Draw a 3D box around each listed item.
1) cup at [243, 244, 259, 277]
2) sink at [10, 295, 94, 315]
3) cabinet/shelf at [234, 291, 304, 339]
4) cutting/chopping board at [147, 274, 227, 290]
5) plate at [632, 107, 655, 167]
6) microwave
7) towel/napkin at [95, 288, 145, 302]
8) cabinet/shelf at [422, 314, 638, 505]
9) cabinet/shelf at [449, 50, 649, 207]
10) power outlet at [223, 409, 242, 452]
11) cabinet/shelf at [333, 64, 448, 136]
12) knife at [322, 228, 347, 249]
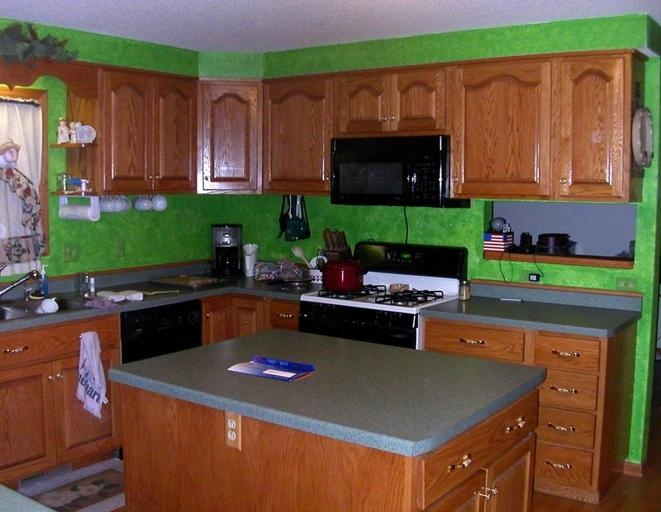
[{"bbox_3d":[-0.719,0.035,4.856,0.115,0.278,0.204,-1,7,-8],"label":"cup"},{"bbox_3d":[-1.928,0.317,3.649,0.261,0.101,0.217,7,9,40],"label":"sink"},{"bbox_3d":[-0.496,0.451,4.242,0.544,0.361,0.319,4,6,26],"label":"cabinet/shelf"},{"bbox_3d":[-1.151,0.195,4.542,0.581,0.027,0.511,5,8,34],"label":"cutting/chopping board"},{"bbox_3d":[1.929,-0.743,3.348,0.074,0.306,0.255,4,4,8],"label":"plate"},{"bbox_3d":[0.552,-0.642,4.206,1.044,0.498,0.539,7,11,39],"label":"microwave"},{"bbox_3d":[-1.496,0.270,3.865,0.316,0.051,0.528,-3,8,-25],"label":"towel/napkin"},{"bbox_3d":[1.353,0.933,3.734,1.149,1.073,0.786,5,6,36],"label":"cabinet/shelf"},{"bbox_3d":[1.356,-0.838,3.711,1.213,0.922,0.464,-4,8,-9],"label":"cabinet/shelf"},{"bbox_3d":[-0.364,0.645,2.034,0.083,0.141,0.018,6,11,29],"label":"power outlet"},{"bbox_3d":[0.403,-1.171,4.104,0.907,0.440,0.296,-8,20,-16],"label":"cabinet/shelf"},{"bbox_3d":[0.040,-0.134,4.524,0.150,0.203,0.055,-3,-1,-15],"label":"knife"}]
